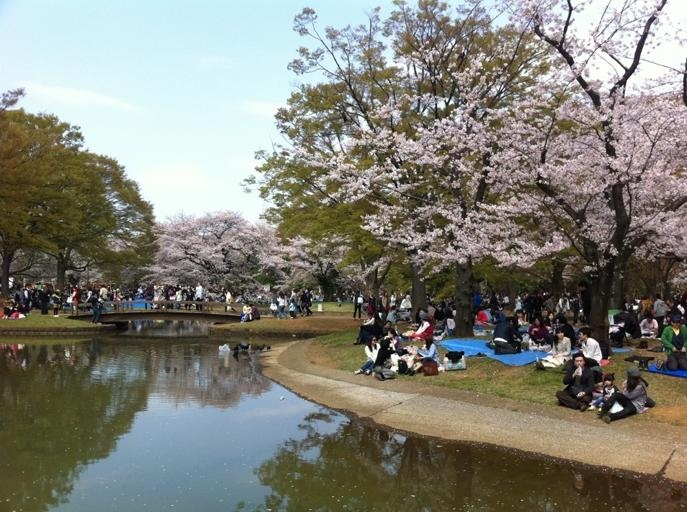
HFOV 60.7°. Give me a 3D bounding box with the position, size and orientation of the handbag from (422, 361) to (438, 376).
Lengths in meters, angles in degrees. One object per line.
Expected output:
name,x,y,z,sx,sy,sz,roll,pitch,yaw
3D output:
handbag,2.776,3.605,18.793,0.415,0.369,0.157,0,2,2

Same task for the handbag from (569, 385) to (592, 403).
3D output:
handbag,6.222,3.568,15.261,0.384,0.193,0.376,10,37,32
